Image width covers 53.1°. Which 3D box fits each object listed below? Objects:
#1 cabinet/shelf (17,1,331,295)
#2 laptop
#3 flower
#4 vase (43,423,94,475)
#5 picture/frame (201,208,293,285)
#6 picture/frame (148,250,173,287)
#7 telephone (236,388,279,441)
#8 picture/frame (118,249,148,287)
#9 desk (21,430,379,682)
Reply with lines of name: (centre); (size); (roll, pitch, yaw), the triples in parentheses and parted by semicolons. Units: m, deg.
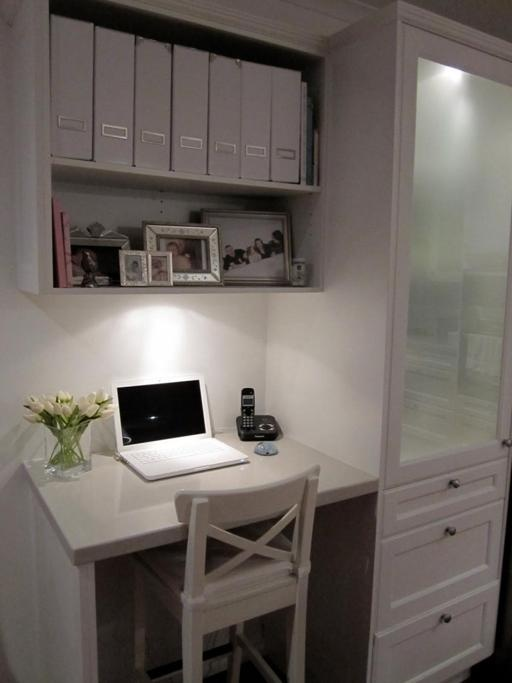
cabinet/shelf: (-0.225, -0.538, 1.377); (0.632, 0.648, 0.189); (-4, 6, -36)
laptop: (-0.251, 0.236, 1.599); (0.378, 0.270, 0.391); (-3, 0, -15)
flower: (-0.531, 0.251, 1.449); (0.259, 0.218, 0.273); (-1, 7, -25)
vase: (-0.525, 0.302, 1.448); (0.102, 0.146, 0.109); (0, 1, 31)
picture/frame: (-0.035, -0.297, 1.633); (0.229, 0.227, 0.018); (2, -7, -28)
picture/frame: (-0.259, -0.196, 1.389); (0.084, 0.124, 0.015); (-3, 2, -41)
telephone: (0.003, 0.250, 1.829); (0.121, 0.151, 0.183); (0, 14, -9)
picture/frame: (-0.322, -0.193, 1.354); (0.086, 0.129, 0.014); (-1, 2, -34)
desk: (-0.164, 0.306, 1.473); (0.885, 0.864, 0.661); (-5, 9, -32)
